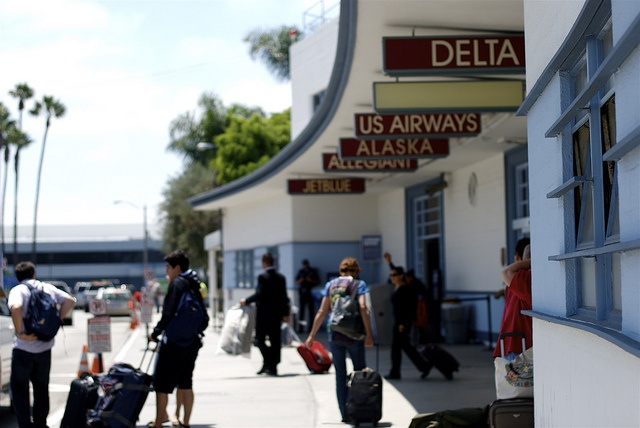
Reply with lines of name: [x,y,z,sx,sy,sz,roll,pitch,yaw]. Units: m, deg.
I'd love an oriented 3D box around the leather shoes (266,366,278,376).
leather shoes: [-0.823,2.762,15.555,0.154,0.189,0.102,-4,-9,17]

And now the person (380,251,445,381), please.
person: [1.422,1.665,14.733,0.957,1.994,0.694,0,-1,7]

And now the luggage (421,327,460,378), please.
luggage: [1.943,2.345,14.849,0.580,0.836,0.962,-2,-9,7]

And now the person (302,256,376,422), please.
person: [0.238,1.641,11.783,0.580,2.142,0.898,1,-2,-21]

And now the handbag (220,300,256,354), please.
handbag: [-1.374,1.952,15.310,0.473,0.897,0.861,0,-6,-9]

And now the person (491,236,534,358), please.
person: [2.231,1.033,10.531,0.422,1.243,0.382,-2,0,-21]

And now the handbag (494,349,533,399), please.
handbag: [2.135,1.806,9.999,0.466,0.639,0.228,-1,0,15]

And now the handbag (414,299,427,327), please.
handbag: [1.676,1.699,15.027,0.265,0.441,0.129,1,0,-45]
